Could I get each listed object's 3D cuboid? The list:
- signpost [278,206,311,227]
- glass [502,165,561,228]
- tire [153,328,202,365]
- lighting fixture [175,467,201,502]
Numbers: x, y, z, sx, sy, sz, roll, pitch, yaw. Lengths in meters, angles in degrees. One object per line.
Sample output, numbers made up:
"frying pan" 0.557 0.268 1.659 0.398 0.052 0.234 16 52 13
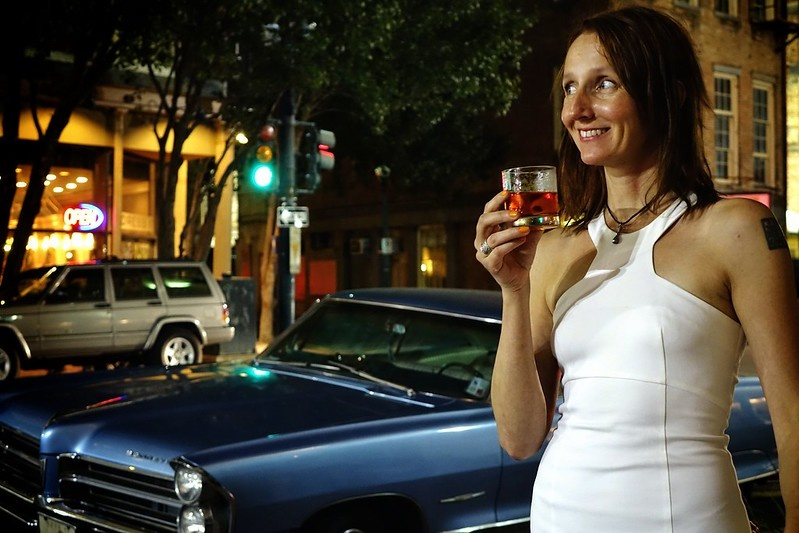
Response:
"signpost" -1.428 -0.684 10.917 0.308 0.311 0.106 0 7 -21
"glass" 0.502 -0.246 3.179 0.220 0.283 0.234 0 -7 -9
"tire" -3.615 1.349 13.101 0.635 0.708 0.229 8 -16 -31
"lighting fixture" -1.116 1.191 4.307 0.190 0.208 0.033 -1 6 31
